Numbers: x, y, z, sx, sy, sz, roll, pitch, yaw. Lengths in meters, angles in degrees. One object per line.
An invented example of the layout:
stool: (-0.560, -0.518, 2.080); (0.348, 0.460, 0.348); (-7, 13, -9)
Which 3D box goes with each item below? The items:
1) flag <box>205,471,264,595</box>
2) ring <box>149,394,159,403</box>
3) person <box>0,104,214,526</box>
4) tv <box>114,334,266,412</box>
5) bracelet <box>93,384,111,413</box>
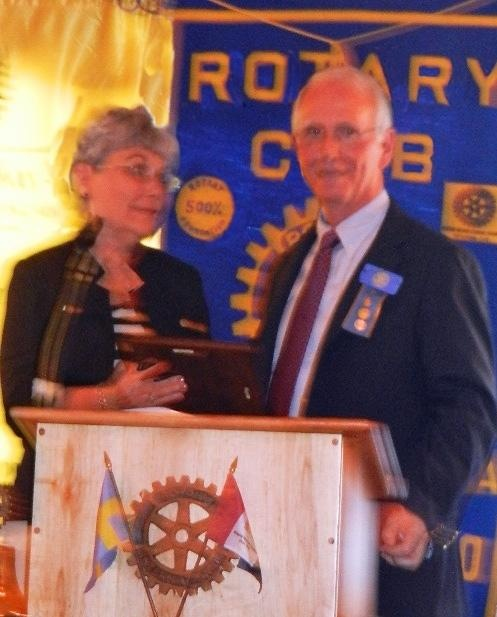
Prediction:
flag: (-0.035, 0.446, 1.689); (0.096, 0.194, 0.163); (-4, 26, -8)
ring: (-0.310, 0.292, 2.733); (0.038, 0.026, 0.008); (1, -6, -11)
person: (-0.478, -0.146, 2.770); (0.676, 0.943, 0.616); (-1, 27, -3)
tv: (-0.309, 0.218, 2.817); (0.269, 0.357, 0.032); (-3, 35, -13)
bracelet: (-0.467, 0.288, 2.683); (0.051, 0.059, 0.087); (-5, 24, -10)
